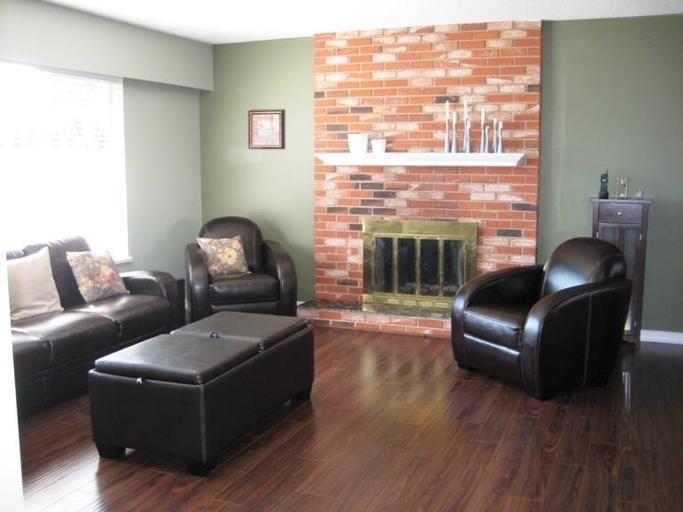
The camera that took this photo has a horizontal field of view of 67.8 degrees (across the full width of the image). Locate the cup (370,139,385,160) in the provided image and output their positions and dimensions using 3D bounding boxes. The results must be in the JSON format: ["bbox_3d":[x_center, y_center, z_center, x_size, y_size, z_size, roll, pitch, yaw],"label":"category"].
[{"bbox_3d":[0.367,-1.096,5.165,0.183,0.150,0.151,5,7,32],"label":"cup"}]

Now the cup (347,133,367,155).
[{"bbox_3d":[0.168,-1.149,5.238,0.201,0.157,0.203,-1,7,0],"label":"cup"}]

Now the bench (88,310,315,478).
[{"bbox_3d":[-0.891,0.472,3.002,0.715,0.609,1.309,3,4,23],"label":"bench"}]

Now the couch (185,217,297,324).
[{"bbox_3d":[-1.049,0.190,5.111,1.016,0.888,0.947,-4,12,-18],"label":"couch"}]

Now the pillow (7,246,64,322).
[{"bbox_3d":[-2.296,0.234,3.779,0.127,0.445,0.441,-8,11,25],"label":"pillow"}]

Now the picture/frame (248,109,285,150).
[{"bbox_3d":[-0.847,-1.465,5.856,0.475,0.482,0.040,1,4,14],"label":"picture/frame"}]
